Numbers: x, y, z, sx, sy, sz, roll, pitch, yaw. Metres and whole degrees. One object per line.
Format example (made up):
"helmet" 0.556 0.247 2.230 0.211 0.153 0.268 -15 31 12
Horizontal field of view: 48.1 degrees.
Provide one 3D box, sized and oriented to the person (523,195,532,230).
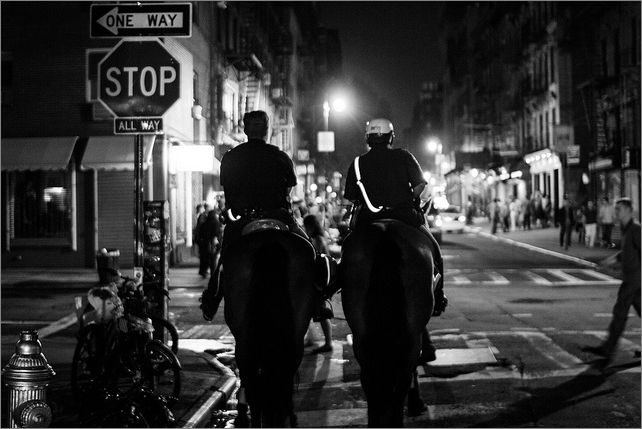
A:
"person" 14.416 -0.041 50.107 0.685 2.488 1.189 3 -23 15
